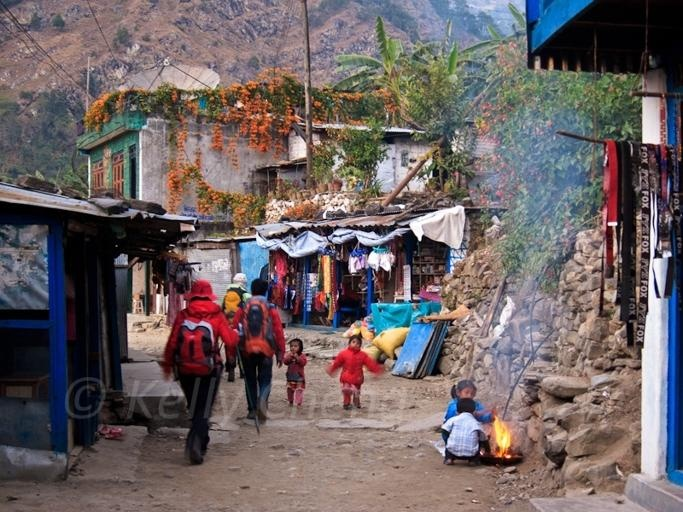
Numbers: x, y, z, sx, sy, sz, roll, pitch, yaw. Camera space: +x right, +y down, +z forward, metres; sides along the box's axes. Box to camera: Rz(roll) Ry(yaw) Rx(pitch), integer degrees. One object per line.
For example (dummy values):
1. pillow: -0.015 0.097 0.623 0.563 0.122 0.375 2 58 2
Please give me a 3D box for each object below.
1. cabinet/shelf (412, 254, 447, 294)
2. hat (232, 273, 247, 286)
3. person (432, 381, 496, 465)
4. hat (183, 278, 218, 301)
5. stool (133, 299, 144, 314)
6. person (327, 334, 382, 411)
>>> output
1. cabinet/shelf: 1.960 0.384 20.137 0.714 0.857 0.239 -1 -3 16
2. hat: -1.963 0.450 17.719 0.309 0.327 0.290 -4 3 -1
3. person: 1.526 2.017 11.220 0.578 0.991 0.490 0 3 9
4. hat: -1.693 0.416 11.269 0.321 0.211 0.319 0 1 -32
5. stool: -7.144 1.767 32.222 0.415 0.632 0.443 1 -7 -22
6. person: 0.156 1.776 13.939 0.473 1.089 0.875 -1 3 2
